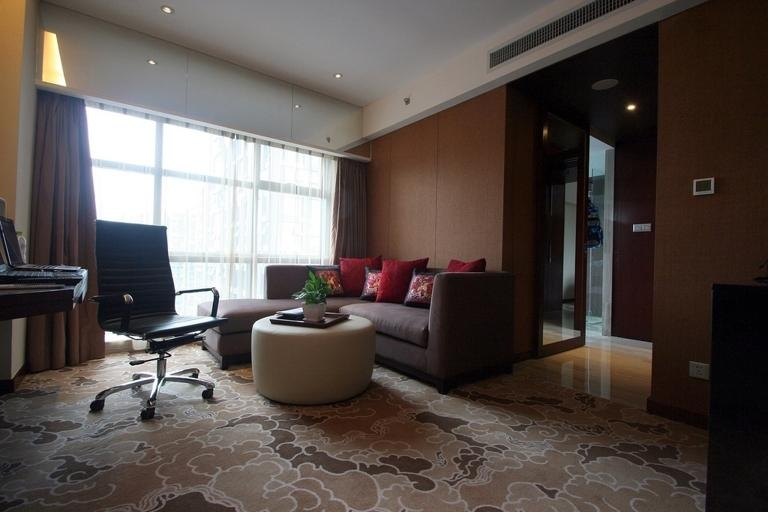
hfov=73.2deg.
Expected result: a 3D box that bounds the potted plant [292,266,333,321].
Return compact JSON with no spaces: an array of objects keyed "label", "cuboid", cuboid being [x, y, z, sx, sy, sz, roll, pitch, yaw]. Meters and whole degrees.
[{"label":"potted plant","cuboid":[-0.670,0.394,4.863,0.263,0.426,0.372,-2,3,-36]}]

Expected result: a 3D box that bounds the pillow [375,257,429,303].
[{"label":"pillow","cuboid":[0.181,0.310,6.105,0.555,0.537,0.177,8,-11,34]}]

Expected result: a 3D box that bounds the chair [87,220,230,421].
[{"label":"chair","cuboid":[-2.041,0.533,4.731,1.057,1.667,1.099,0,1,16]}]

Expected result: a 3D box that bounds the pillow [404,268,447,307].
[{"label":"pillow","cuboid":[0.440,0.372,5.663,0.107,0.377,0.401,25,-13,-37]}]

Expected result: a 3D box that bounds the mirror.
[{"label":"mirror","cuboid":[2.103,-0.258,6.075,0.893,2.807,0.223,-2,3,-36]}]

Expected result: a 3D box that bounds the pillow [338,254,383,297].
[{"label":"pillow","cuboid":[-0.378,0.237,6.670,0.403,0.411,0.156,-1,1,21]}]
